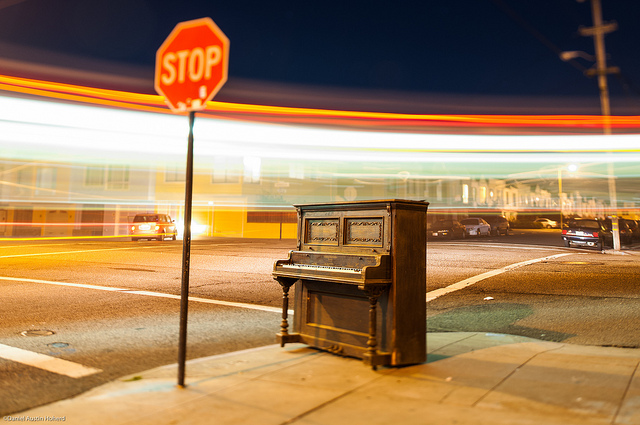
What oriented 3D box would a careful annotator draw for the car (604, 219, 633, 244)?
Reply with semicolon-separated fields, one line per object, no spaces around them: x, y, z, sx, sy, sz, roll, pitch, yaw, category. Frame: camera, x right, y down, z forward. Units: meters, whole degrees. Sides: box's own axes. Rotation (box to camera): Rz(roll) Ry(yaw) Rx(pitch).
22.909;1.437;36.686;2.150;1.739;5.227;-1;0;44;car

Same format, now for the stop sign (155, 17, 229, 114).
-1.999;-2.223;7.173;1.262;1.365;0.305;1;4;29;stop sign

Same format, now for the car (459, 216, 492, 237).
14.866;1.299;44.531;1.611;1.118;2.715;1;4;38;car

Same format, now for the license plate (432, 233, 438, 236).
10.544;1.912;43.216;0.382;0.228;0.087;0;-3;22;license plate

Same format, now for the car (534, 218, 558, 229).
36.998;1.658;76.244;3.976;1.177;1.618;3;-2;15;car

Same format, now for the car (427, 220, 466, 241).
11.635;1.505;43.400;3.446;1.724;1.436;0;3;3;car

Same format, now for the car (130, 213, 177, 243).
-13.073;0.953;37.615;1.845;1.411;3.376;0;2;4;car

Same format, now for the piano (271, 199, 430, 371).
0.581;1.314;8.209;1.715;2.815;2.787;6;-8;-44;piano
